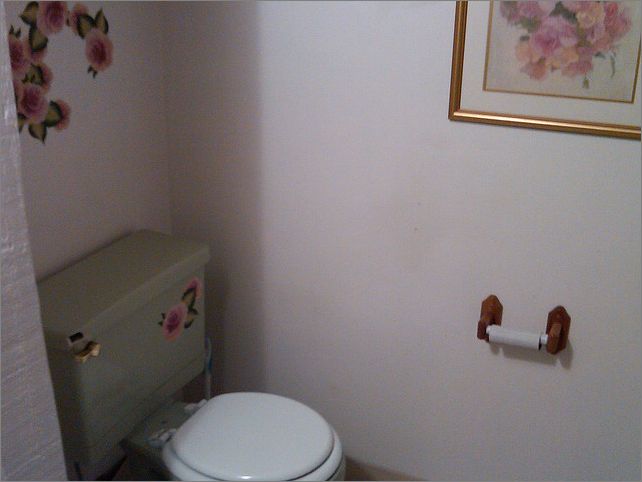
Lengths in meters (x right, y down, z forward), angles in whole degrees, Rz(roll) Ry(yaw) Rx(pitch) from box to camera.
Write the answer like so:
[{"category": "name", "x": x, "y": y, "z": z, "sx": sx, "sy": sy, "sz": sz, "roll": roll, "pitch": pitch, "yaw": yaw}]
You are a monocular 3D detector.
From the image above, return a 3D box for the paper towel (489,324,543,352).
[{"category": "paper towel", "x": 0.599, "y": 0.299, "z": 1.579, "sx": 0.175, "sy": 0.058, "sz": 0.033, "roll": 12, "pitch": 18, "yaw": 16}]
